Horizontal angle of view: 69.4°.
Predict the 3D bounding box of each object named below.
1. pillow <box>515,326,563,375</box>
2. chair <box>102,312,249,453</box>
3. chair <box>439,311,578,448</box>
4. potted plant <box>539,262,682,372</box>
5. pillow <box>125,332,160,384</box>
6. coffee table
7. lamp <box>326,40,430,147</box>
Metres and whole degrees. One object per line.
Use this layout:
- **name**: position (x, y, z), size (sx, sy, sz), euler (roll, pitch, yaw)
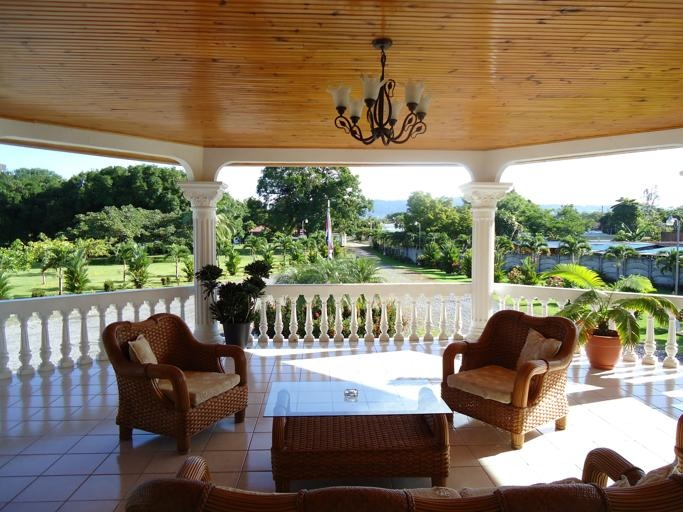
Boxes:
- **pillow**: position (1.848, 0.885, 4.620), size (0.124, 0.359, 0.391), euler (32, -4, -18)
- **chair**: position (-1.515, 1.140, 4.637), size (1.282, 0.919, 1.201), euler (0, 4, -42)
- **chair**: position (1.601, 1.106, 4.687), size (1.113, 0.941, 1.100), euler (-4, 4, -15)
- **potted plant**: position (3.569, 0.724, 6.580), size (1.720, 1.093, 1.581), euler (-1, 0, 1)
- **pillow**: position (-1.782, 0.917, 4.373), size (0.213, 0.347, 0.422), euler (-10, 6, -3)
- **coffee table**: position (0.131, 1.429, 3.889), size (0.971, 0.377, 0.905), euler (0, -2, -1)
- **lamp**: position (0.347, -1.395, 4.155), size (0.946, 0.761, 0.839), euler (-1, 6, -10)
